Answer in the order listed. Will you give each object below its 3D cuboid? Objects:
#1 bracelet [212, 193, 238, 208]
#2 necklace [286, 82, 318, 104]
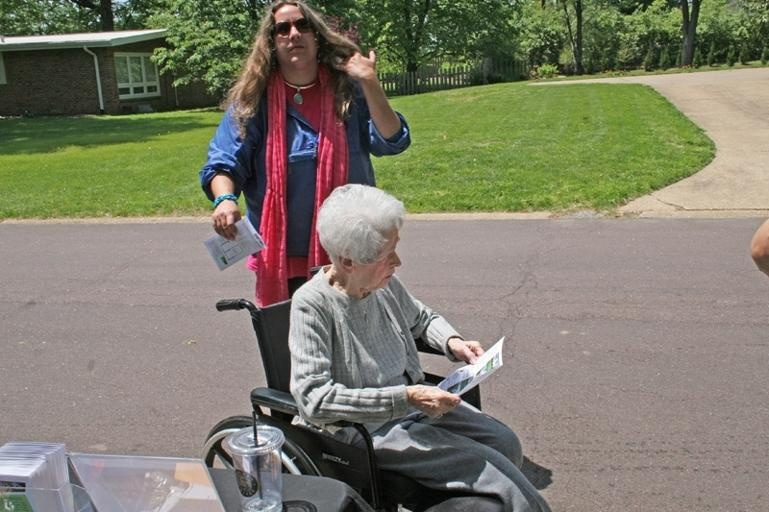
[{"bbox_3d":[-0.991,-0.354,4.397,0.142,0.075,0.230,-3,15,-13],"label":"bracelet"},{"bbox_3d":[-0.532,-1.059,4.594,0.145,0.147,0.124,1,5,30],"label":"necklace"}]
